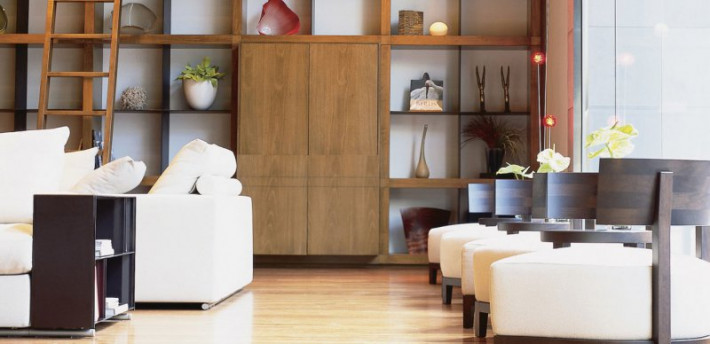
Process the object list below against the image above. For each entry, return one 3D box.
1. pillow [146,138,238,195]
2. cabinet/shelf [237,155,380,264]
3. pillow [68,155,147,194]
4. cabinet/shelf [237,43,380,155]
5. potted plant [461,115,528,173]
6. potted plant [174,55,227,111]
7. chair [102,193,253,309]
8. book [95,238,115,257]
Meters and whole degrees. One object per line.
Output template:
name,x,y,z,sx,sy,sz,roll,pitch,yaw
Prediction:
pillow,-1.689,-0.056,6.866,0.854,0.550,0.197,-1,4,-13
cabinet/shelf,-0.566,0.472,8.529,2.485,1.367,1.270,0,1,1
pillow,-2.463,0.057,6.537,0.559,0.185,0.464,-7,12,10
cabinet/shelf,-0.589,-0.900,8.558,1.745,1.173,0.511,1,0,-1
potted plant,1.831,-0.393,9.082,0.870,0.654,0.817,6,-13,-10
potted plant,-2.040,-1.188,9.019,0.808,0.589,0.726,2,3,-4
chair,-1.771,0.760,7.031,1.138,1.163,1.904,0,-2,3
book,-2.369,0.712,6.246,0.160,0.161,0.267,0,-2,5
